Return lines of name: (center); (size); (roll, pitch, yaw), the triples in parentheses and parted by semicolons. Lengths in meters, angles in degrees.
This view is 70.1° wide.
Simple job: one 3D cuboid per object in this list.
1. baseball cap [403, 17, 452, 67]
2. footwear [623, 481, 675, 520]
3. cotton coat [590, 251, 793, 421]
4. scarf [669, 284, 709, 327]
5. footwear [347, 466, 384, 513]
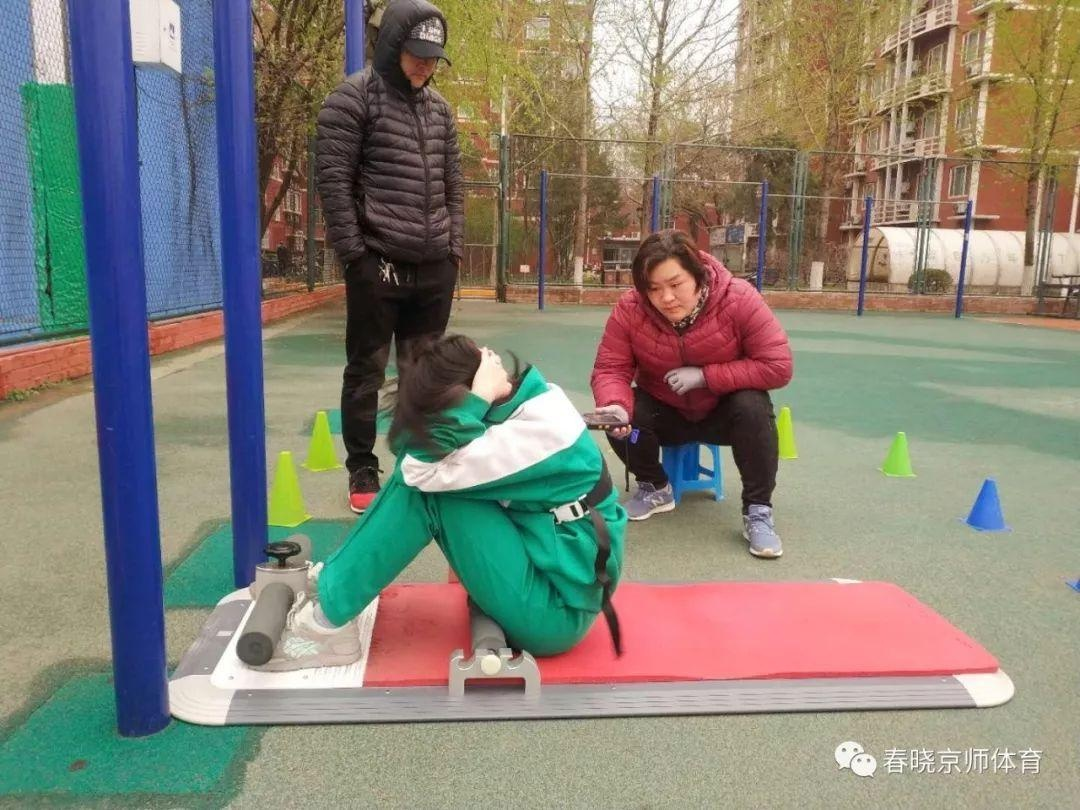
baseball cap: (-0.456, -1.528, 3.228); (0.139, 0.077, 0.199); (-12, 56, -33)
footwear: (0.527, 0.444, 3.667); (0.315, 0.164, 0.132); (-7, 7, -32)
cotton coat: (0.655, -0.236, 3.389); (0.697, 0.853, 0.521); (4, 10, -6)
scarf: (0.634, -0.415, 3.291); (0.067, 0.171, 0.131); (12, 1, -2)
footwear: (-0.808, 0.387, 3.594); (0.167, 0.181, 0.435); (-2, 8, -14)
